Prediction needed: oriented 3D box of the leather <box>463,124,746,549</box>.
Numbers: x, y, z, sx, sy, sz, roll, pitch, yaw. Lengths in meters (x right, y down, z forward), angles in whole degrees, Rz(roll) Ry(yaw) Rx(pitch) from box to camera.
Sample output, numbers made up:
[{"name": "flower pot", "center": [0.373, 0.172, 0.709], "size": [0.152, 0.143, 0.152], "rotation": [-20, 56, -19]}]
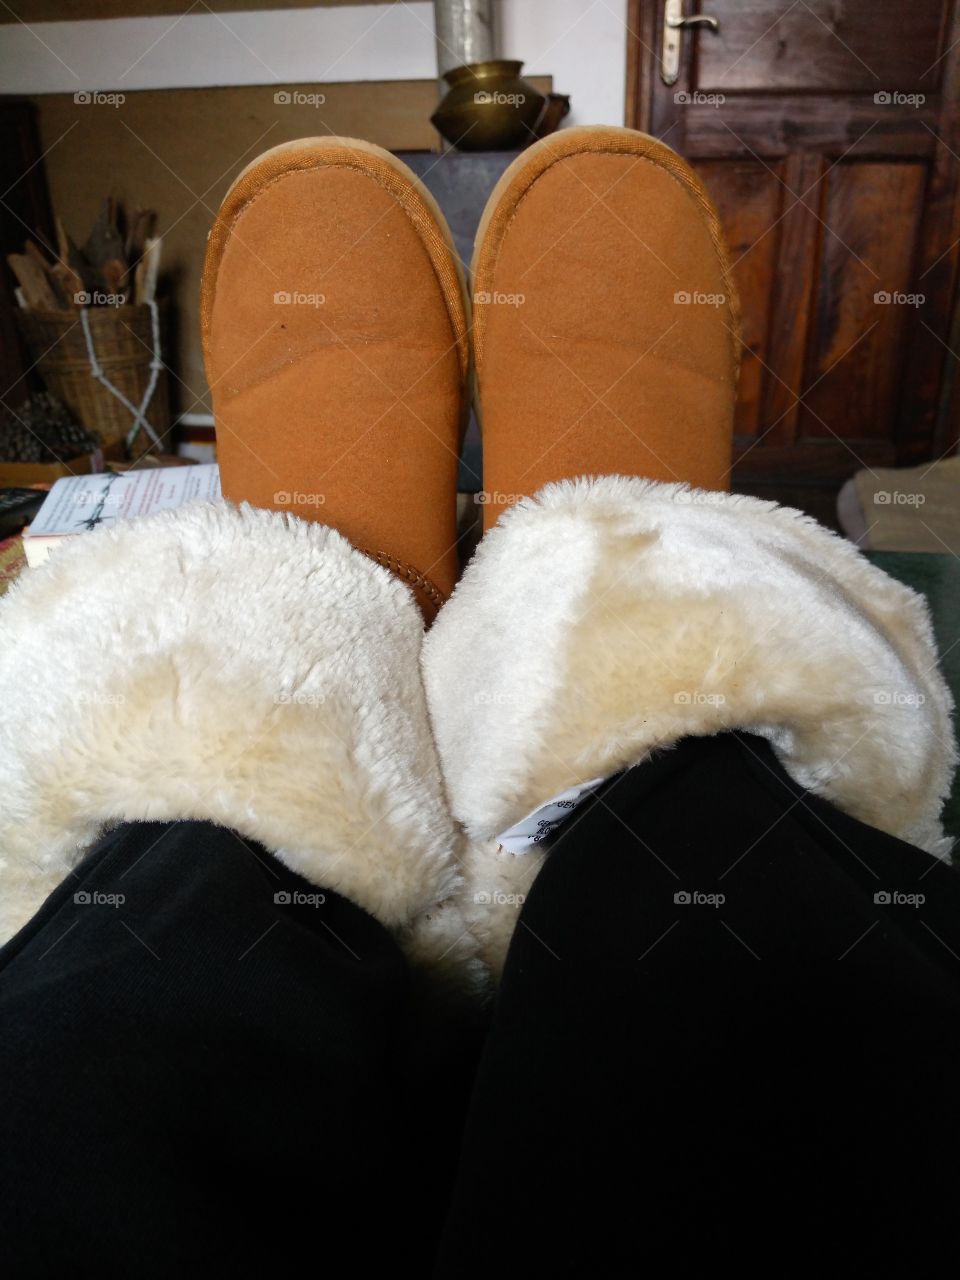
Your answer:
[{"name": "leather", "center": [0.103, -0.224, 0.828], "size": [0.134, 0.359, 0.151], "rotation": [0, 12, 6]}]

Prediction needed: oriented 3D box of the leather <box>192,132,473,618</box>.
[{"name": "leather", "center": [-0.091, -0.163, 0.866], "size": [0.152, 0.404, 0.167], "rotation": [-2, 19, 1]}]

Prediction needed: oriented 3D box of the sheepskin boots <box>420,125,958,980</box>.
[{"name": "sheepskin boots", "center": [0.109, -0.068, 0.660], "size": [0.278, 0.532, 0.220], "rotation": [-1, -1, 7]}]

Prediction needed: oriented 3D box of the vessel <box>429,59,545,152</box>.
[{"name": "vessel", "center": [0.015, -0.801, 1.705], "size": [0.166, 0.105, 0.159], "rotation": [11, 30, 25]}]

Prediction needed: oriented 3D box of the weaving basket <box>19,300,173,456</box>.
[{"name": "weaving basket", "center": [-0.698, -0.455, 2.111], "size": [0.231, 0.269, 0.199], "rotation": [-21, 9, -1]}]
